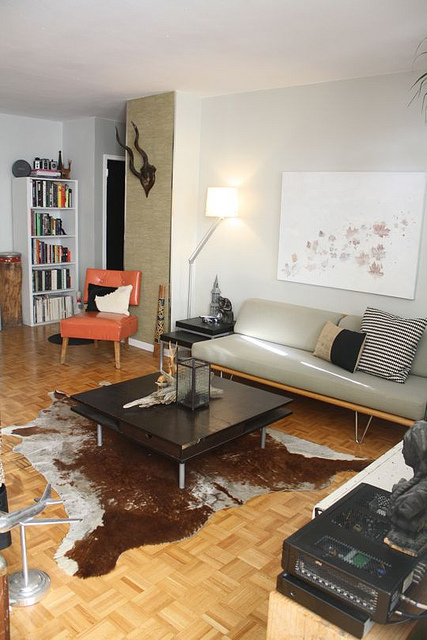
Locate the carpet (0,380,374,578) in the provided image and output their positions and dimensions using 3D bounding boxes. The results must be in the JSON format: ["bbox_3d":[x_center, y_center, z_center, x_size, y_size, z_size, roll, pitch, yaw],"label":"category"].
[{"bbox_3d":[-0.310,0.767,2.903,1.748,0.029,1.666,-4,12,-38],"label":"carpet"}]

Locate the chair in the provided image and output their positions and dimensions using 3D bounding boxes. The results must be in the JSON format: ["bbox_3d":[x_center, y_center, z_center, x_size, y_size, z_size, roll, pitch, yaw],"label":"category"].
[{"bbox_3d":[-1.084,-0.057,4.868,0.609,0.825,0.695,5,11,10],"label":"chair"}]

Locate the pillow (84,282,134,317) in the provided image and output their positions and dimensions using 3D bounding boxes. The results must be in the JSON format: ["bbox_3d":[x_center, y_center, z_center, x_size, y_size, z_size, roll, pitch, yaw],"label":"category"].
[{"bbox_3d":[-1.038,-0.202,4.897,0.344,0.229,0.119,4,-29,13],"label":"pillow"}]

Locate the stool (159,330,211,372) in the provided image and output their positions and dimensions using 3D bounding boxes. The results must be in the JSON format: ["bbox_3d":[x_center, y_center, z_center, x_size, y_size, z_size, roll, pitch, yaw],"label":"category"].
[{"bbox_3d":[-0.183,0.215,3.468,0.175,0.290,0.305,-8,15,-35],"label":"stool"}]

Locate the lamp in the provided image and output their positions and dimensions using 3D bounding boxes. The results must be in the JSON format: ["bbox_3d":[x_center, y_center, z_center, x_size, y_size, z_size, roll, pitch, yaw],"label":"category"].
[{"bbox_3d":[-0.049,-0.627,4.808,0.388,1.331,0.689,-4,12,-33],"label":"lamp"}]
